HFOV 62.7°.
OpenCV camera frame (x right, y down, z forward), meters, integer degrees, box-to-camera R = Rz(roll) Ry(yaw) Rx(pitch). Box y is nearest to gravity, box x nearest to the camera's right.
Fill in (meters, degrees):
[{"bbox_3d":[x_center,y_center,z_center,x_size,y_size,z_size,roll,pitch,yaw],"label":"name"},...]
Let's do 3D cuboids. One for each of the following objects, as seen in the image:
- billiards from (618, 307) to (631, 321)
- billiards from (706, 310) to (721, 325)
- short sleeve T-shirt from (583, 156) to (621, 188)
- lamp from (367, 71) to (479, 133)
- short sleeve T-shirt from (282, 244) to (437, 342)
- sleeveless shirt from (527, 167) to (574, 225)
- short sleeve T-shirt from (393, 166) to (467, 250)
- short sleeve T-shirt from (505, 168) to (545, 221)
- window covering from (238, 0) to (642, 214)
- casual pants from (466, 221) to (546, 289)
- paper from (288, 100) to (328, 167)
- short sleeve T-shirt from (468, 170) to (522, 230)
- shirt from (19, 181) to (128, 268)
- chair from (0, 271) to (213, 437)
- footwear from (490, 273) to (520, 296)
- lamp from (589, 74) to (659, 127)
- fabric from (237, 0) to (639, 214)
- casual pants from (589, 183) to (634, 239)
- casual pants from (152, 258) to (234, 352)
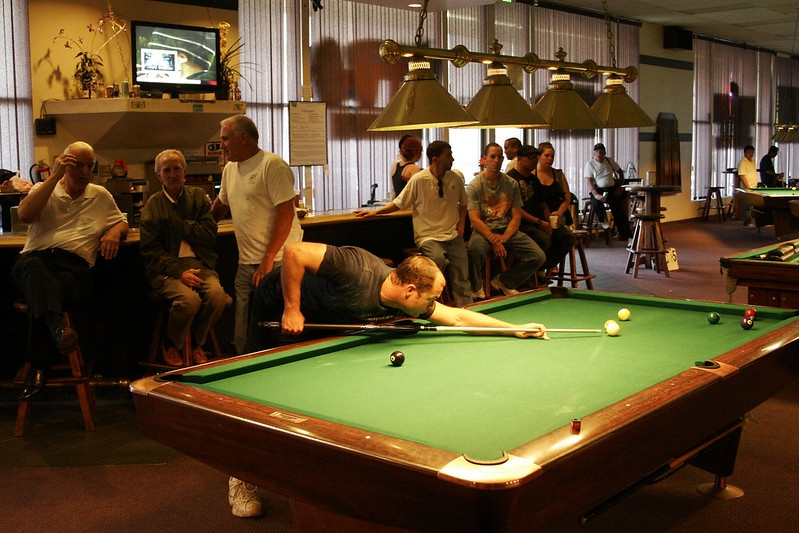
[{"bbox_3d":[1.351,0.279,3.911,0.072,0.072,0.070,-4,2,-9],"label":"billiards"},{"bbox_3d":[1.824,0.290,3.802,0.068,0.077,0.068,-2,13,9],"label":"billiards"},{"bbox_3d":[3.681,-1.727,11.909,0.735,0.696,0.419,-2,1,-3],"label":"short sleeve T-shirt"},{"bbox_3d":[0.126,-1.011,3.787,0.644,0.322,0.633,-13,19,-26],"label":"lamp"},{"bbox_3d":[-0.242,0.152,3.578,0.778,0.243,0.481,12,-2,32],"label":"short sleeve T-shirt"},{"bbox_3d":[1.750,-0.948,7.705,0.184,0.484,0.247,28,13,37],"label":"sleeveless shirt"},{"bbox_3d":[0.366,-0.597,6.425,0.848,0.738,0.307,-5,16,-19],"label":"short sleeve T-shirt"},{"bbox_3d":[1.356,-0.780,7.126,0.305,0.536,0.535,-15,0,28],"label":"short sleeve T-shirt"},{"bbox_3d":[0.294,-1.998,7.984,4.385,2.525,0.051,-4,3,-35],"label":"window covering"},{"bbox_3d":[1.182,-0.147,6.994,0.665,1.044,0.661,3,5,37],"label":"casual pants"},{"bbox_3d":[-1.145,-1.680,8.231,0.016,0.790,0.596,11,15,42],"label":"paper"},{"bbox_3d":[0.991,-0.677,6.768,0.600,0.629,0.334,-4,9,-16],"label":"short sleeve T-shirt"},{"bbox_3d":[-2.455,-0.351,4.936,0.753,0.577,0.365,3,7,-35],"label":"shirt"},{"bbox_3d":[-2.097,0.581,4.556,0.322,0.551,1.082,4,7,28],"label":"chair"},{"bbox_3d":[1.115,0.171,6.854,0.271,0.123,0.100,29,39,19],"label":"footwear"},{"bbox_3d":[1.650,-1.180,4.927,0.442,0.280,0.460,-3,7,2],"label":"lamp"},{"bbox_3d":[0.263,-1.987,7.948,4.357,2.503,0.057,-4,2,-35],"label":"fabric"},{"bbox_3d":[3.944,-1.081,12.160,0.804,1.155,0.922,-10,11,18],"label":"casual pants"},{"bbox_3d":[-1.658,0.266,4.997,0.660,0.758,0.585,3,4,39],"label":"casual pants"}]
